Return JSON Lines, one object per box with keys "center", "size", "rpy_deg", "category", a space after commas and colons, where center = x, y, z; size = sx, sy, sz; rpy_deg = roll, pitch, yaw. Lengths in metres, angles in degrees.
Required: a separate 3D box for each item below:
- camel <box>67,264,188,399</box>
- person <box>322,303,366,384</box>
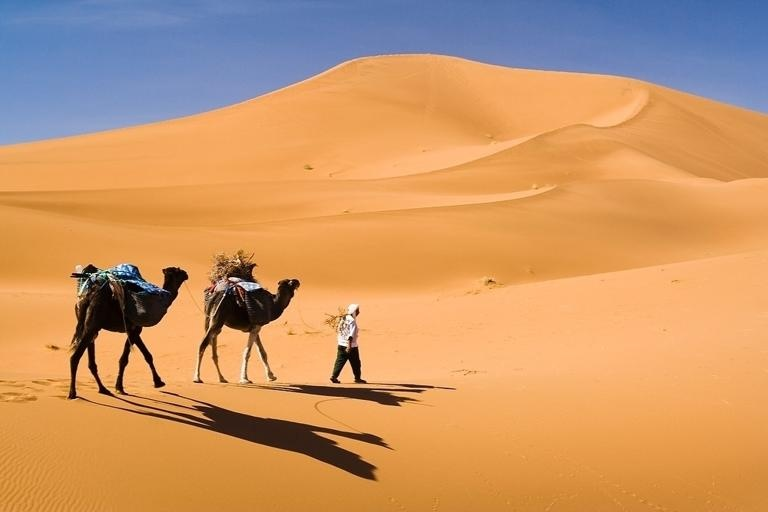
{"center": [-5.058, 1.439, 14.030], "size": [1.199, 2.384, 3.382], "rpy_deg": [-6, -3, 23], "category": "camel"}
{"center": [-0.864, 2.037, 16.373], "size": [0.983, 1.692, 0.900], "rpy_deg": [4, -8, -45], "category": "person"}
